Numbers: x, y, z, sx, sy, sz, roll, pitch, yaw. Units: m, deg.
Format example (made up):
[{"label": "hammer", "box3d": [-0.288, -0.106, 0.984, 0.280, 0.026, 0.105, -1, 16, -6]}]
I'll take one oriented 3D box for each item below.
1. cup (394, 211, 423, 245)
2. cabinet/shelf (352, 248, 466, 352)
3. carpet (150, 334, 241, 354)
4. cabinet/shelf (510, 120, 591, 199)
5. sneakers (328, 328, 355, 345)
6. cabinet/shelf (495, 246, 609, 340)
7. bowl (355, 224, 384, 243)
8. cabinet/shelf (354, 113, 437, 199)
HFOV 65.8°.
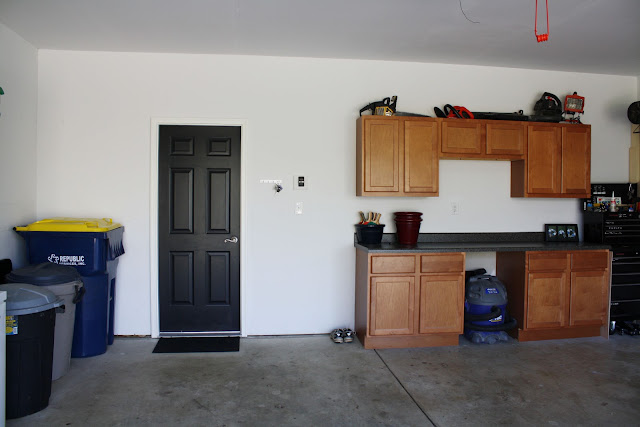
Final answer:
[{"label": "cup", "box3d": [1.029, 0.178, 5.841, 0.382, 0.379, 0.370, 0, -4, 0]}, {"label": "cabinet/shelf", "box3d": [1.004, 0.960, 5.869, 1.283, 1.084, 0.668, 1, 0, -22]}, {"label": "carpet", "box3d": [-1.391, 1.496, 5.674, 0.951, 0.100, 0.400, 0, -1, -3]}, {"label": "cabinet/shelf", "box3d": [3.036, -0.661, 6.044, 0.392, 0.929, 0.992, -10, 12, -25]}, {"label": "sneakers", "box3d": [0.258, 1.436, 5.850, 0.279, 0.129, 0.255, 0, -1, -3]}, {"label": "cabinet/shelf", "box3d": [2.824, 0.930, 6.121, 1.278, 1.089, 0.637, -1, 6, -17]}, {"label": "bowl", "box3d": [0.590, 0.240, 5.863, 0.263, 0.153, 0.255, 1, -7, 0]}, {"label": "cabinet/shelf", "box3d": [0.891, -0.674, 5.736, 1.040, 0.910, 0.322, 0, 2, -3]}]
